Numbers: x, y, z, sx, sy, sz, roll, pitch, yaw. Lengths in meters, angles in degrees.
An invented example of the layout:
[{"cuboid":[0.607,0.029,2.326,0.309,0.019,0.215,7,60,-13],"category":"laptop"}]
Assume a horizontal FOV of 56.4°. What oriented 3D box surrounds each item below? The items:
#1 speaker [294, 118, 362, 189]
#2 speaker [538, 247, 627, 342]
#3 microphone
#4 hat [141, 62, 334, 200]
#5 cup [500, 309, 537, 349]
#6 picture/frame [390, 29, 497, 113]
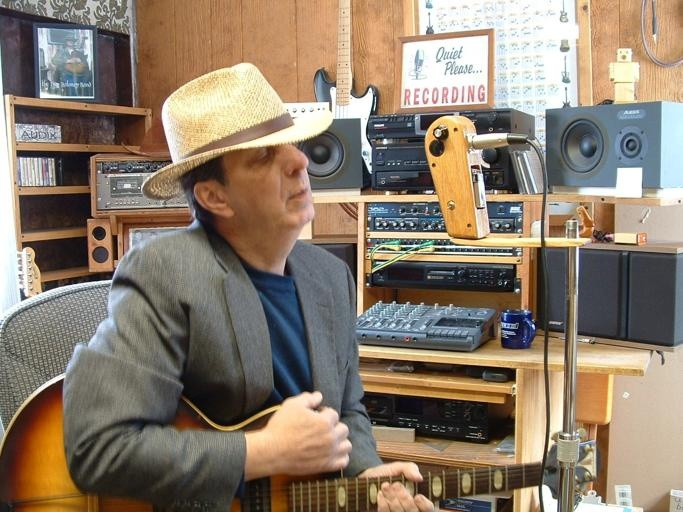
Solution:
[{"cuboid":[-0.089,-0.492,2.861,0.342,0.350,0.215,0,33,6],"category":"speaker"},{"cuboid":[0.843,0.126,2.175,0.320,0.347,0.168,-1,-2,36],"category":"speaker"},{"cuboid":[0.344,-0.235,1.894,0.183,0.366,0.129,0,4,8],"category":"microphone"},{"cuboid":[-0.253,-0.241,1.534,0.363,0.160,0.332,-21,10,16],"category":"hat"},{"cuboid":[0.669,0.275,2.376,0.101,0.146,0.162,-2,3,-34],"category":"cup"},{"cuboid":[0.470,-0.817,2.817,0.420,0.365,0.033,1,1,21],"category":"picture/frame"}]
